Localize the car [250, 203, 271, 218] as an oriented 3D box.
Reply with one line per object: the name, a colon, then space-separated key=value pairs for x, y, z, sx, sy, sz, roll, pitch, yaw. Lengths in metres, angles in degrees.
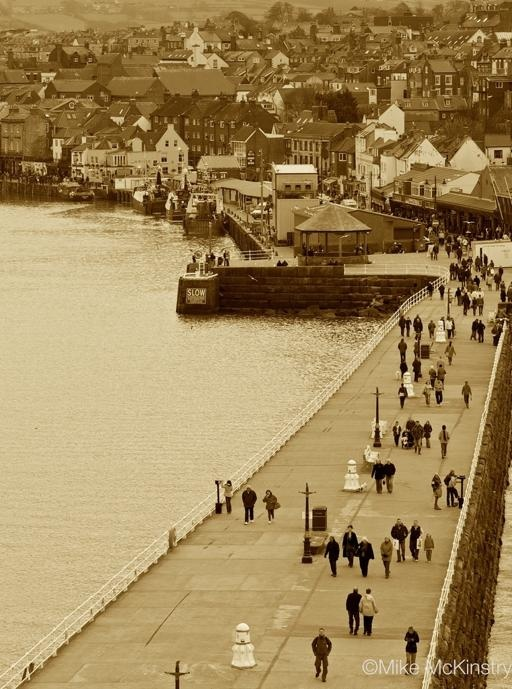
car: x=0.471 y=-8.005 z=106.671 sx=1.148 sy=0.693 sz=1.945 roll=-13 pitch=4 yaw=-23

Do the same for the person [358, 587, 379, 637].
person: x=1.666 y=3.850 z=25.556 sx=0.230 sy=0.824 sz=0.709 roll=1 pitch=7 yaw=4

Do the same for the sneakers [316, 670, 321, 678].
sneakers: x=0.883 y=4.473 z=23.993 sx=0.035 sy=0.073 sz=0.113 roll=3 pitch=26 yaw=6

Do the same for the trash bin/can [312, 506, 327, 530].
trash bin/can: x=1.187 y=3.130 z=31.652 sx=0.362 sy=0.407 sz=0.222 roll=-1 pitch=0 yaw=-5

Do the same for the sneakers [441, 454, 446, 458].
sneakers: x=4.103 y=2.394 z=37.635 sx=0.074 sy=0.088 sz=0.131 roll=-6 pitch=-17 yaw=0

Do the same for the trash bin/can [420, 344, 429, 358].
trash bin/can: x=5.056 y=0.205 z=51.624 sx=0.267 sy=0.488 sz=0.474 roll=0 pitch=9 yaw=6

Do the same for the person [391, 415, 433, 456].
person: x=3.590 y=2.053 z=38.959 sx=0.411 sy=0.588 sz=1.244 roll=3 pitch=2 yaw=-2

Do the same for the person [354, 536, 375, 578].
person: x=1.826 y=3.454 z=28.857 sx=0.270 sy=0.748 sz=0.793 roll=1 pitch=7 yaw=2
